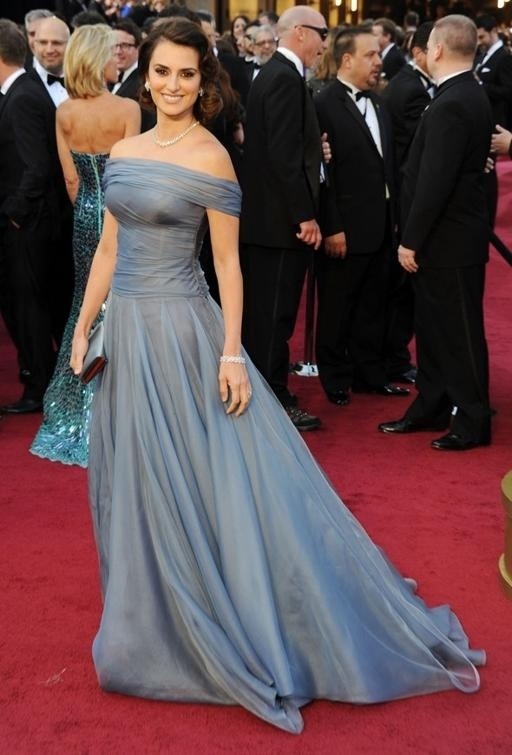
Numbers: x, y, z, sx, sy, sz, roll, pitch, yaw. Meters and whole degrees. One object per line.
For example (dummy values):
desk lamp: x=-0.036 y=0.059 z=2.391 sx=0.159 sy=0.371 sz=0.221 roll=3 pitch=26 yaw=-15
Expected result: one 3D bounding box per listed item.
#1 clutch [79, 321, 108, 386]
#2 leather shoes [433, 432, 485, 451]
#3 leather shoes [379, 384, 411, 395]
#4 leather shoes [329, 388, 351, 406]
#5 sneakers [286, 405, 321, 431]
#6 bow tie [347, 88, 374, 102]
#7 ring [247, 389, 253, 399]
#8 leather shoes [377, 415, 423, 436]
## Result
clutch: x=-0.382 y=-0.066 z=1.489 sx=0.031 sy=0.119 sz=0.123 roll=22 pitch=50 yaw=-4
leather shoes: x=1.015 y=0.314 z=3.176 sx=0.268 sy=0.109 sz=0.103 roll=4 pitch=-6 yaw=-12
leather shoes: x=0.899 y=0.061 z=4.014 sx=0.143 sy=0.059 sz=0.082 roll=-1 pitch=15 yaw=4
leather shoes: x=0.516 y=0.111 z=3.820 sx=0.067 sy=0.061 sz=0.140 roll=-2 pitch=3 yaw=-10
sneakers: x=0.260 y=0.209 z=3.379 sx=0.198 sy=0.096 sz=0.091 roll=2 pitch=9 yaw=6
bow tie: x=0.611 y=-1.668 z=3.689 sx=0.105 sy=0.058 sz=0.083 roll=7 pitch=9 yaw=14
ring: x=-0.012 y=0.031 z=1.458 sx=0.013 sy=0.019 sz=0.011 roll=-2 pitch=-8 yaw=-2
leather shoes: x=0.781 y=0.241 z=3.393 sx=0.236 sy=0.100 sz=0.096 roll=2 pitch=-2 yaw=-3
